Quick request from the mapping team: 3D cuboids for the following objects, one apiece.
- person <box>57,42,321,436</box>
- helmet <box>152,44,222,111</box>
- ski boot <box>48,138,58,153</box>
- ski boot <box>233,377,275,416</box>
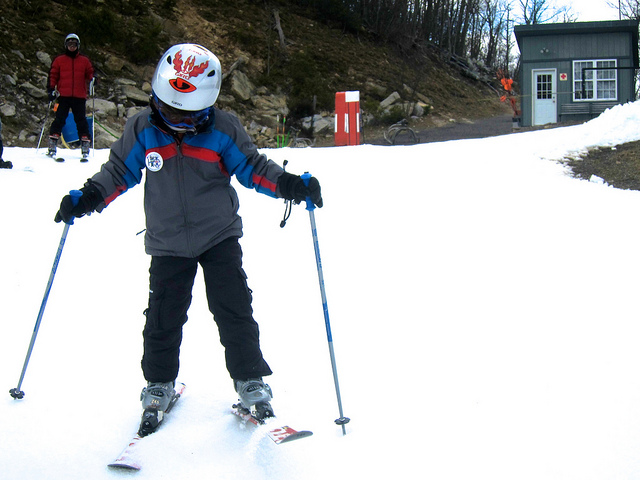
[{"bbox_3d":[-0.785,-0.001,3.832,1.362,2.384,0.344,4,6,0],"label":"person"},{"bbox_3d":[-0.798,-0.960,3.842,0.336,0.470,0.321,12,-5,0],"label":"helmet"},{"bbox_3d":[-4.278,-1.522,9.958,0.100,0.220,0.164,2,7,-16],"label":"ski boot"},{"bbox_3d":[-0.421,0.967,3.840,0.275,0.253,0.151,10,10,40],"label":"ski boot"}]
